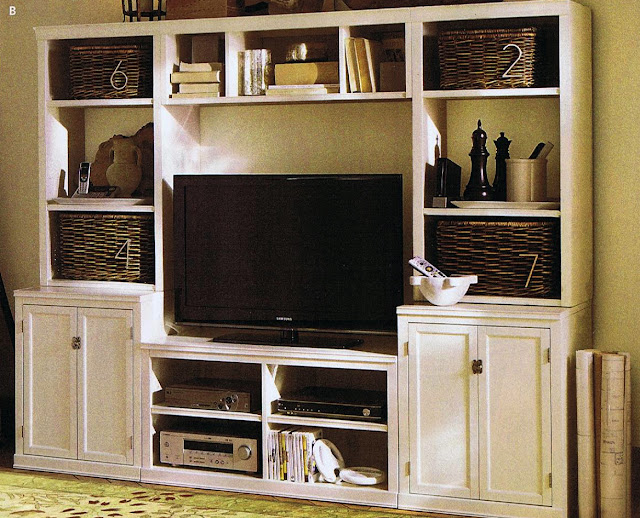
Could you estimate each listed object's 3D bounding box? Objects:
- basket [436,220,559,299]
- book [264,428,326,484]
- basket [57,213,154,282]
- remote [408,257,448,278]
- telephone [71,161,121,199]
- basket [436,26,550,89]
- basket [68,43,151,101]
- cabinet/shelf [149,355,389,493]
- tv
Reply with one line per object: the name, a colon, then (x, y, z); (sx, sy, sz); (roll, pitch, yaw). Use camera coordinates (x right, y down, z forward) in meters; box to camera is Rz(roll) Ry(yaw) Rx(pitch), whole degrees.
basket: (0.831, -0.022, 3.659); (0.601, 0.340, 0.365); (0, -1, 14)
book: (-0.140, 0.935, 3.926); (0.240, 0.275, 0.304); (-1, -4, 3)
basket: (-1.159, -0.061, 4.376); (0.646, 0.389, 0.372); (1, -1, 13)
remote: (0.501, 0.044, 3.660); (0.181, 0.024, 0.083); (37, 41, 22)
telephone: (-1.251, -0.430, 4.346); (0.295, 0.182, 0.209); (11, 13, 34)
basket: (0.770, -0.921, 3.640); (0.483, 0.273, 0.308); (2, 12, 17)
basket: (-1.116, -0.971, 4.231); (0.554, 0.314, 0.311); (0, 1, 15)
cabinet/shelf: (-0.210, 0.734, 3.975); (1.320, 0.707, 0.552); (2, 15, 15)
tv: (-0.126, -0.014, 3.981); (0.972, 0.608, 0.265); (1, 2, 14)
